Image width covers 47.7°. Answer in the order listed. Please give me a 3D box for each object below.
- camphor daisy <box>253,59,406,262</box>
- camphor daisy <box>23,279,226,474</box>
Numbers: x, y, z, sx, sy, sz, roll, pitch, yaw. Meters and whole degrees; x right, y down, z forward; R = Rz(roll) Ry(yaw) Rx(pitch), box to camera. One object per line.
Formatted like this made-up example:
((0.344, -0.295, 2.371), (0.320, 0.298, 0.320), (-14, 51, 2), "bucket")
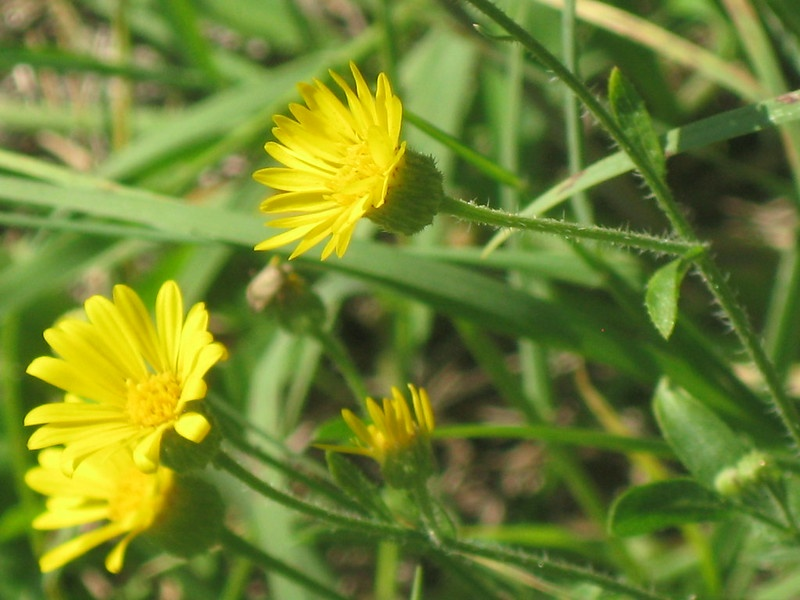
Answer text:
((-0.081, -0.184, 1.157), (0.100, 0.237, 0.241), (8, 41, -37), "camphor daisy")
((-0.328, 0.110, 1.175), (0.237, 0.259, 0.100), (3, -9, 36), "camphor daisy")
